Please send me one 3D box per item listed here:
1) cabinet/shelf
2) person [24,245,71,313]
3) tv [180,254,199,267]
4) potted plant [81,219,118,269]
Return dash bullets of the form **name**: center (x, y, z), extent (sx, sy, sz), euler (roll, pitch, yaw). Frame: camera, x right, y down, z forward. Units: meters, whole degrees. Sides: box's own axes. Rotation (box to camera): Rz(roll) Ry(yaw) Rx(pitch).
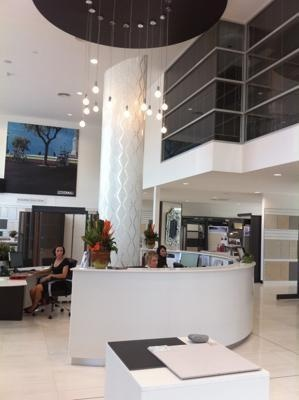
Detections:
- **cabinet/shelf**: center (3.751, 1.692, 14.055), extent (3.167, 3.238, 2.267), euler (1, -7, -9)
- **person**: center (-2.012, 1.563, 6.381), extent (0.763, 1.310, 0.519), euler (3, 5, -35)
- **tv**: center (0.995, 1.465, 7.851), extent (0.048, 0.254, 0.344), euler (5, -5, -28)
- **potted plant**: center (-0.656, 0.548, 4.257), extent (0.536, 0.740, 0.498), euler (1, -4, -28)
